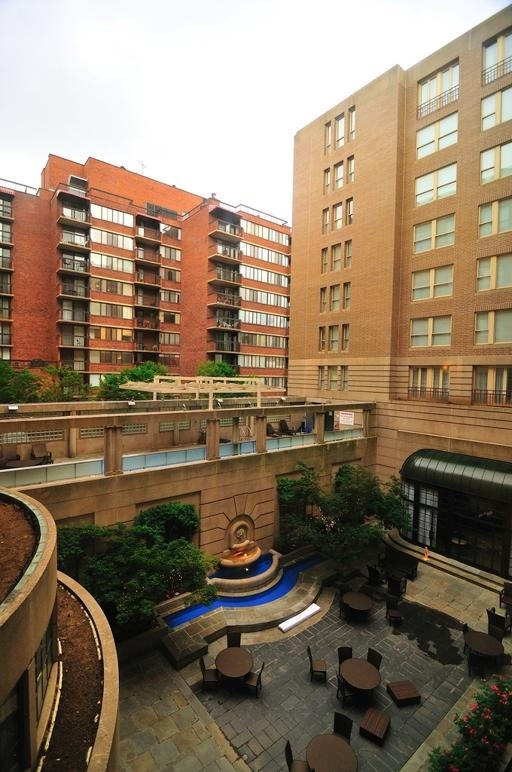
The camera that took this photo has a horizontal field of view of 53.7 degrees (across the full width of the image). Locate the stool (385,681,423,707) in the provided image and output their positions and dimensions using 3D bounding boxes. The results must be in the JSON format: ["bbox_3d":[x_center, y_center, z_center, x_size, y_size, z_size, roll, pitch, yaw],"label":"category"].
[{"bbox_3d":[3.894,8.012,13.240,0.765,0.349,0.713,0,8,-13],"label":"stool"}]

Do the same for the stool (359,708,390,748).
[{"bbox_3d":[2.851,8.157,12.149,0.622,0.419,0.656,7,10,36],"label":"stool"}]

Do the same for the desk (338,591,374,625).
[{"bbox_3d":[3.303,7.343,16.697,1.041,0.811,1.170,3,8,10],"label":"desk"}]
